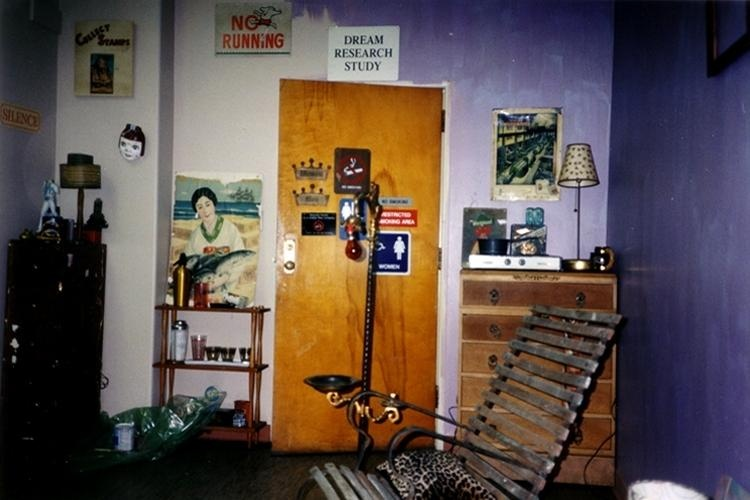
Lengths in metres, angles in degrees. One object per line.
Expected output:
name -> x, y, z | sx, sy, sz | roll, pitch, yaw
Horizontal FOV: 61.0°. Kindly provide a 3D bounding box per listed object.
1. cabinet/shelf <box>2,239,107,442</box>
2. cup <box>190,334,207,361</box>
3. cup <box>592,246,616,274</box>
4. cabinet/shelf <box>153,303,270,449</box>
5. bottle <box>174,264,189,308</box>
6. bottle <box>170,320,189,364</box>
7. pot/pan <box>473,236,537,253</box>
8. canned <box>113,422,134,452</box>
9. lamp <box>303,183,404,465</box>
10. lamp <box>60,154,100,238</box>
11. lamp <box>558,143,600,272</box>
cabinet/shelf -> -2.458, 0.656, 4.870 | 0.678, 1.480, 0.279 | -2, 3, -31
cup -> -1.465, 0.805, 5.273 | 0.167, 0.258, 0.172 | 0, -10, 0
cup -> 1.747, 0.084, 4.863 | 0.121, 0.120, 0.213 | 14, -20, -5
cabinet/shelf -> -1.374, 1.009, 5.306 | 0.857, 1.109, 0.316 | 3, -1, -2
bottle -> -1.609, 0.291, 5.269 | 0.116, 0.327, 0.080 | -1, 3, -13
bottle -> -1.644, 0.747, 5.271 | 0.178, 0.323, 0.119 | 0, 3, 4
pot/pan -> 1.024, -0.030, 4.980 | 0.452, 0.176, 0.208 | 1, -2, 3
canned -> -1.984, 1.471, 5.030 | 0.155, 0.212, 0.120 | -1, 3, -21
lamp -> -0.193, 0.629, 4.934 | 0.730, 2.149, 0.740 | 2, 0, -25
lamp -> -2.402, -0.439, 5.182 | 0.296, 0.682, 0.124 | -1, 3, -22
lamp -> 1.615, -0.353, 5.080 | 0.326, 0.979, 0.507 | 1, 3, 20
